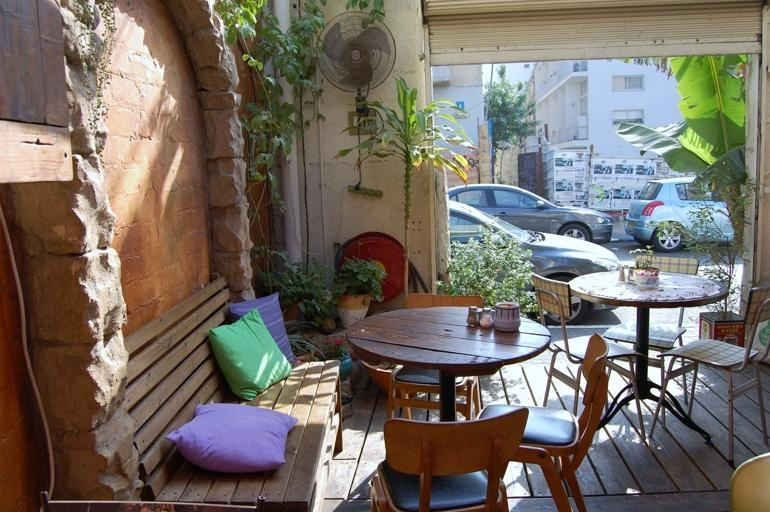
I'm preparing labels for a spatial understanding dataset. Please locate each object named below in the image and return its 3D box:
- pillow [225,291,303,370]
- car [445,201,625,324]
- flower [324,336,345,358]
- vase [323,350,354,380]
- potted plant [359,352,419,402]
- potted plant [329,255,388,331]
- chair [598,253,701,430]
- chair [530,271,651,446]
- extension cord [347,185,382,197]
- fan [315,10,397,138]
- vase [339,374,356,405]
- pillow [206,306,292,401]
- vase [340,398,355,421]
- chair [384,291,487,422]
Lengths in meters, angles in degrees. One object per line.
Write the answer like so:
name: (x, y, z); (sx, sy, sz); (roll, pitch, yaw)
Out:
pillow: (-0.947, 0.586, 4.173); (0.284, 0.538, 0.579); (3, 6, 32)
car: (1.924, 0.067, 6.949); (2.456, 0.923, 1.169); (-1, 7, -2)
flower: (-0.440, 0.807, 4.944); (0.152, 0.060, 0.163); (7, 22, 12)
vase: (-0.388, 0.952, 4.930); (0.225, 0.212, 0.235); (-2, -5, -6)
potted plant: (0.046, 0.946, 4.785); (0.440, 0.384, 0.456); (1, 0, -16)
potted plant: (-0.274, 0.357, 5.761); (0.563, 0.818, 0.676); (1, 1, 10)
chair: (2.448, 0.571, 5.117); (0.726, 1.115, 0.634); (-4, 6, -30)
chair: (1.656, 0.815, 4.535); (0.770, 1.291, 0.737); (-2, 5, 6)
extension cord: (-0.208, -0.671, 5.756); (0.367, 0.128, 0.059); (-1, 12, 2)
fan: (-0.295, -1.902, 5.739); (0.741, 1.213, 0.413); (-1, 37, -1)
vase: (-0.326, 1.173, 4.820); (0.167, 0.252, 0.175); (-1, -2, 1)
pillow: (-0.953, 0.700, 3.990); (0.408, 0.514, 0.703); (4, 8, 13)
vase: (-0.322, 1.304, 4.686); (0.121, 0.125, 0.126); (1, -6, -18)
chair: (0.375, 0.939, 4.221); (0.626, 1.184, 0.763); (1, 9, 14)
